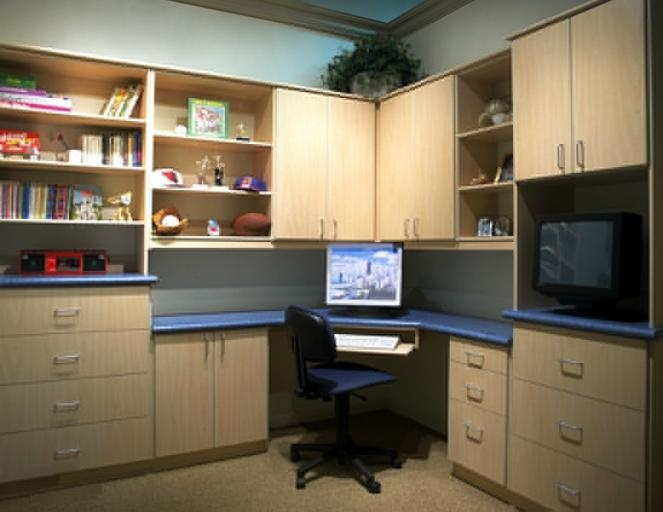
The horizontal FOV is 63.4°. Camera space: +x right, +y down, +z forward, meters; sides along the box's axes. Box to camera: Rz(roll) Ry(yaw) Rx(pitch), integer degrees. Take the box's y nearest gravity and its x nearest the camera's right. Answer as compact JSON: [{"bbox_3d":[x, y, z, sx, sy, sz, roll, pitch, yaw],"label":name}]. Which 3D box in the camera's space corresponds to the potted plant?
[{"bbox_3d":[0.280,-1.461,4.270,0.628,0.475,0.613,1,3,26],"label":"potted plant"}]

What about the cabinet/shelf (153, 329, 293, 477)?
[{"bbox_3d":[-0.756,0.987,3.544,0.861,0.930,0.341,1,-2,-27],"label":"cabinet/shelf"}]

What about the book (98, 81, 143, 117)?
[{"bbox_3d":[-1.401,-1.026,3.582,0.263,0.288,0.081,1,4,-36],"label":"book"}]

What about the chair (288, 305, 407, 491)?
[{"bbox_3d":[0.062,0.845,3.459,0.702,1.094,0.760,-3,8,-24],"label":"chair"}]

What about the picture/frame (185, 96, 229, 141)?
[{"bbox_3d":[-0.887,-0.957,3.789,0.334,0.331,0.034,4,-8,-28],"label":"picture/frame"}]

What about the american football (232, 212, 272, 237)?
[{"bbox_3d":[-0.580,-0.225,3.908,0.262,0.160,0.188,-2,7,-15],"label":"american football"}]

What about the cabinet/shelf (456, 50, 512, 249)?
[{"bbox_3d":[1.039,-0.687,3.565,0.423,1.182,0.464,6,9,39],"label":"cabinet/shelf"}]
